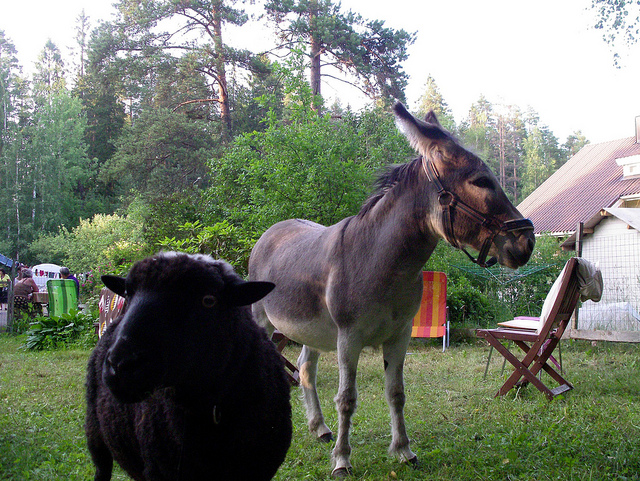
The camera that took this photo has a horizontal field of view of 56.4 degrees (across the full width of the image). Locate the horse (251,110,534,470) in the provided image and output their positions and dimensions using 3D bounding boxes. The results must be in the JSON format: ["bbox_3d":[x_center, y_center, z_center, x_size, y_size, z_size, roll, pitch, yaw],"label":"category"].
[{"bbox_3d":[0.728,0.571,7.281,3.417,4.194,1.191,2,5,35],"label":"horse"}]
